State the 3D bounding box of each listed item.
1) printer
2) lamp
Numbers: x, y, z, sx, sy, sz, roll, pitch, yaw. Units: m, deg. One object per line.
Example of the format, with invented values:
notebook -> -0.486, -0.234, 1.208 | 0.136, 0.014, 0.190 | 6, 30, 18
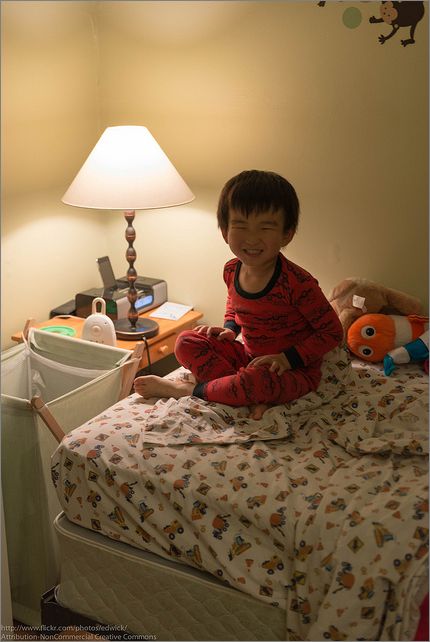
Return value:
printer -> -0.383, -0.135, 2.148 | 0.334, 0.266, 0.393 | 6, 15, 19
lamp -> -0.347, -0.410, 1.950 | 0.488, 0.701, 0.462 | -7, 38, -14
